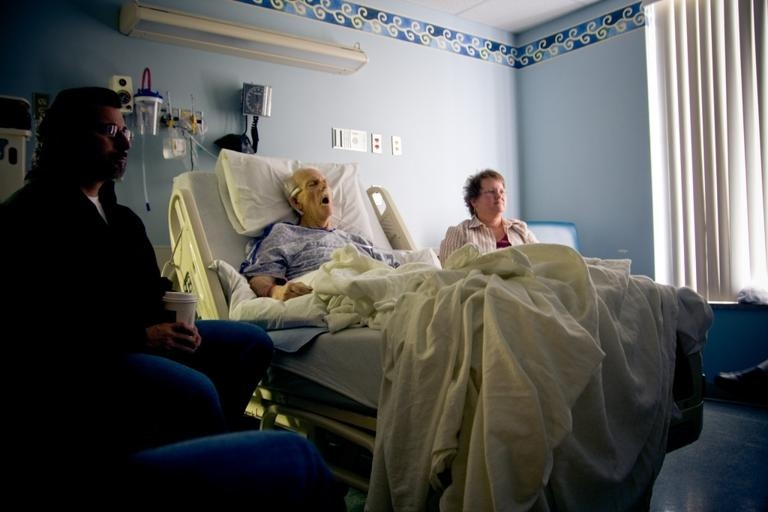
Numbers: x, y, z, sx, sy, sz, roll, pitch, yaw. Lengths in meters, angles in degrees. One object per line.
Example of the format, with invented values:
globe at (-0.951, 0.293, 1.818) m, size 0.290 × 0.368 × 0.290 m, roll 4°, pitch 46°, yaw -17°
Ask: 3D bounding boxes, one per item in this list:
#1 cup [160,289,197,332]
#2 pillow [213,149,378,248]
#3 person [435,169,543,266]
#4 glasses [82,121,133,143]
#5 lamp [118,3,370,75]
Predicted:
cup at (-0.640, 0.174, 1.680) m, size 0.106 × 0.117 × 0.107 m, roll -1°, pitch -4°, yaw 0°
pillow at (-0.510, -0.354, 3.104) m, size 0.673 × 0.208 × 0.696 m, roll 11°, pitch 37°, yaw -34°
person at (0.729, -0.264, 3.666) m, size 0.717 × 0.669 × 0.381 m, roll -3°, pitch -3°, yaw -16°
glasses at (-0.844, -0.374, 1.628) m, size 0.112 × 0.037 × 0.114 m, roll 5°, pitch 6°, yaw 28°
lamp at (-0.884, -1.406, 3.518) m, size 1.520 × 0.190 × 0.205 m, roll -3°, pitch 11°, yaw -32°
